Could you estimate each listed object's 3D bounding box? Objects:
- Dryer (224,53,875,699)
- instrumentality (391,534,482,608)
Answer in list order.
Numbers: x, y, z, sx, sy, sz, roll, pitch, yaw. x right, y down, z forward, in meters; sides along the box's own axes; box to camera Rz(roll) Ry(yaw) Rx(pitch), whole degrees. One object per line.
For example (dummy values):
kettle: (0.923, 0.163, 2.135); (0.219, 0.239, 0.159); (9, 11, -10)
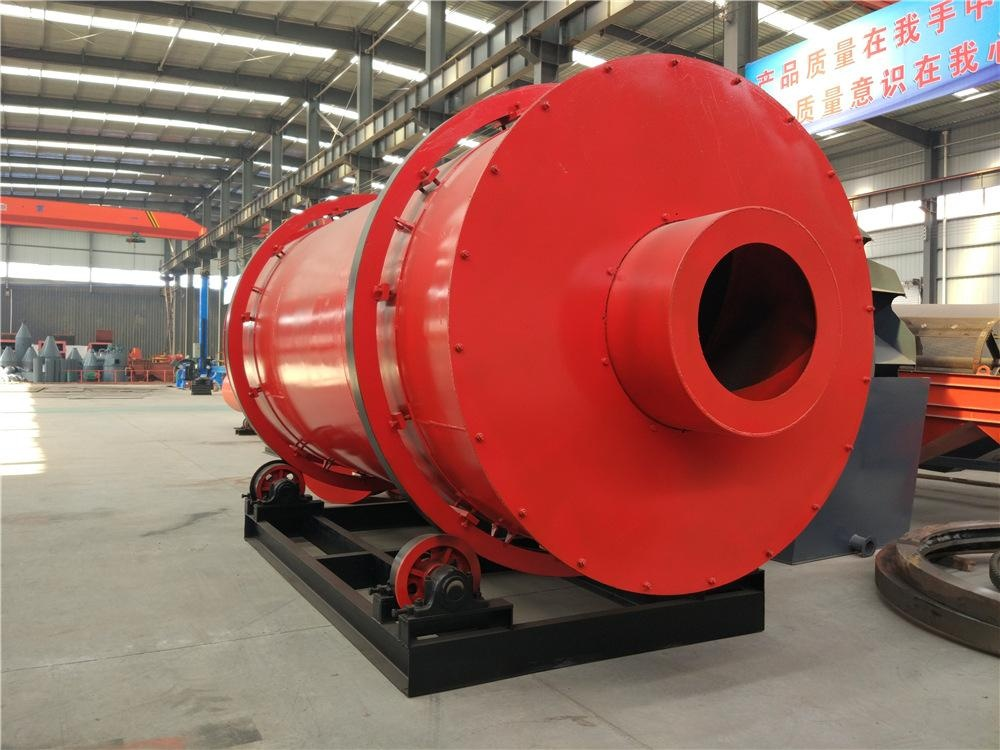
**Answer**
Dryer: (-0.105, -0.056, 5.275); (2.745, 2.626, 4.684); (-3, 2, -27)
instrumentality: (-0.267, 0.831, 3.199); (0.355, 0.289, 0.101); (9, -5, -35)
